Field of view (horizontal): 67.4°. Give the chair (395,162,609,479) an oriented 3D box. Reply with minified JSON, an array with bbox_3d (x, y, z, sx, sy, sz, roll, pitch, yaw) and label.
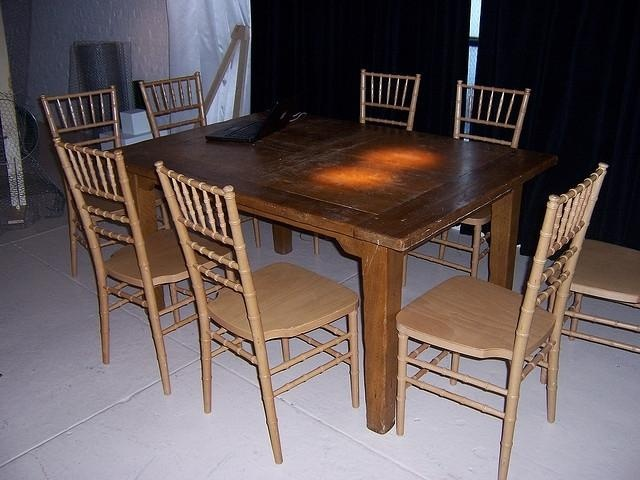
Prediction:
[{"bbox_3d":[0.632,0.255,1.748,0.558,1.060,0.532,16,29,30],"label":"chair"}]

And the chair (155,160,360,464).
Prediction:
[{"bbox_3d":[-0.222,0.213,1.894,0.528,1.059,0.656,-20,32,-38],"label":"chair"}]
